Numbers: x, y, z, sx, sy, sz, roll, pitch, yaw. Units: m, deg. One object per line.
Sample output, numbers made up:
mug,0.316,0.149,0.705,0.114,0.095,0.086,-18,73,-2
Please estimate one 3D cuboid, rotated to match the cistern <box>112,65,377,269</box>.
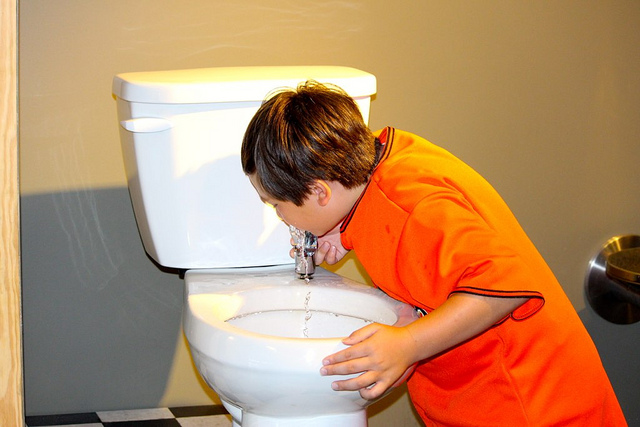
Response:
cistern,-0.244,-0.007,1.389,0.591,0.430,0.372,7,-26,-25
